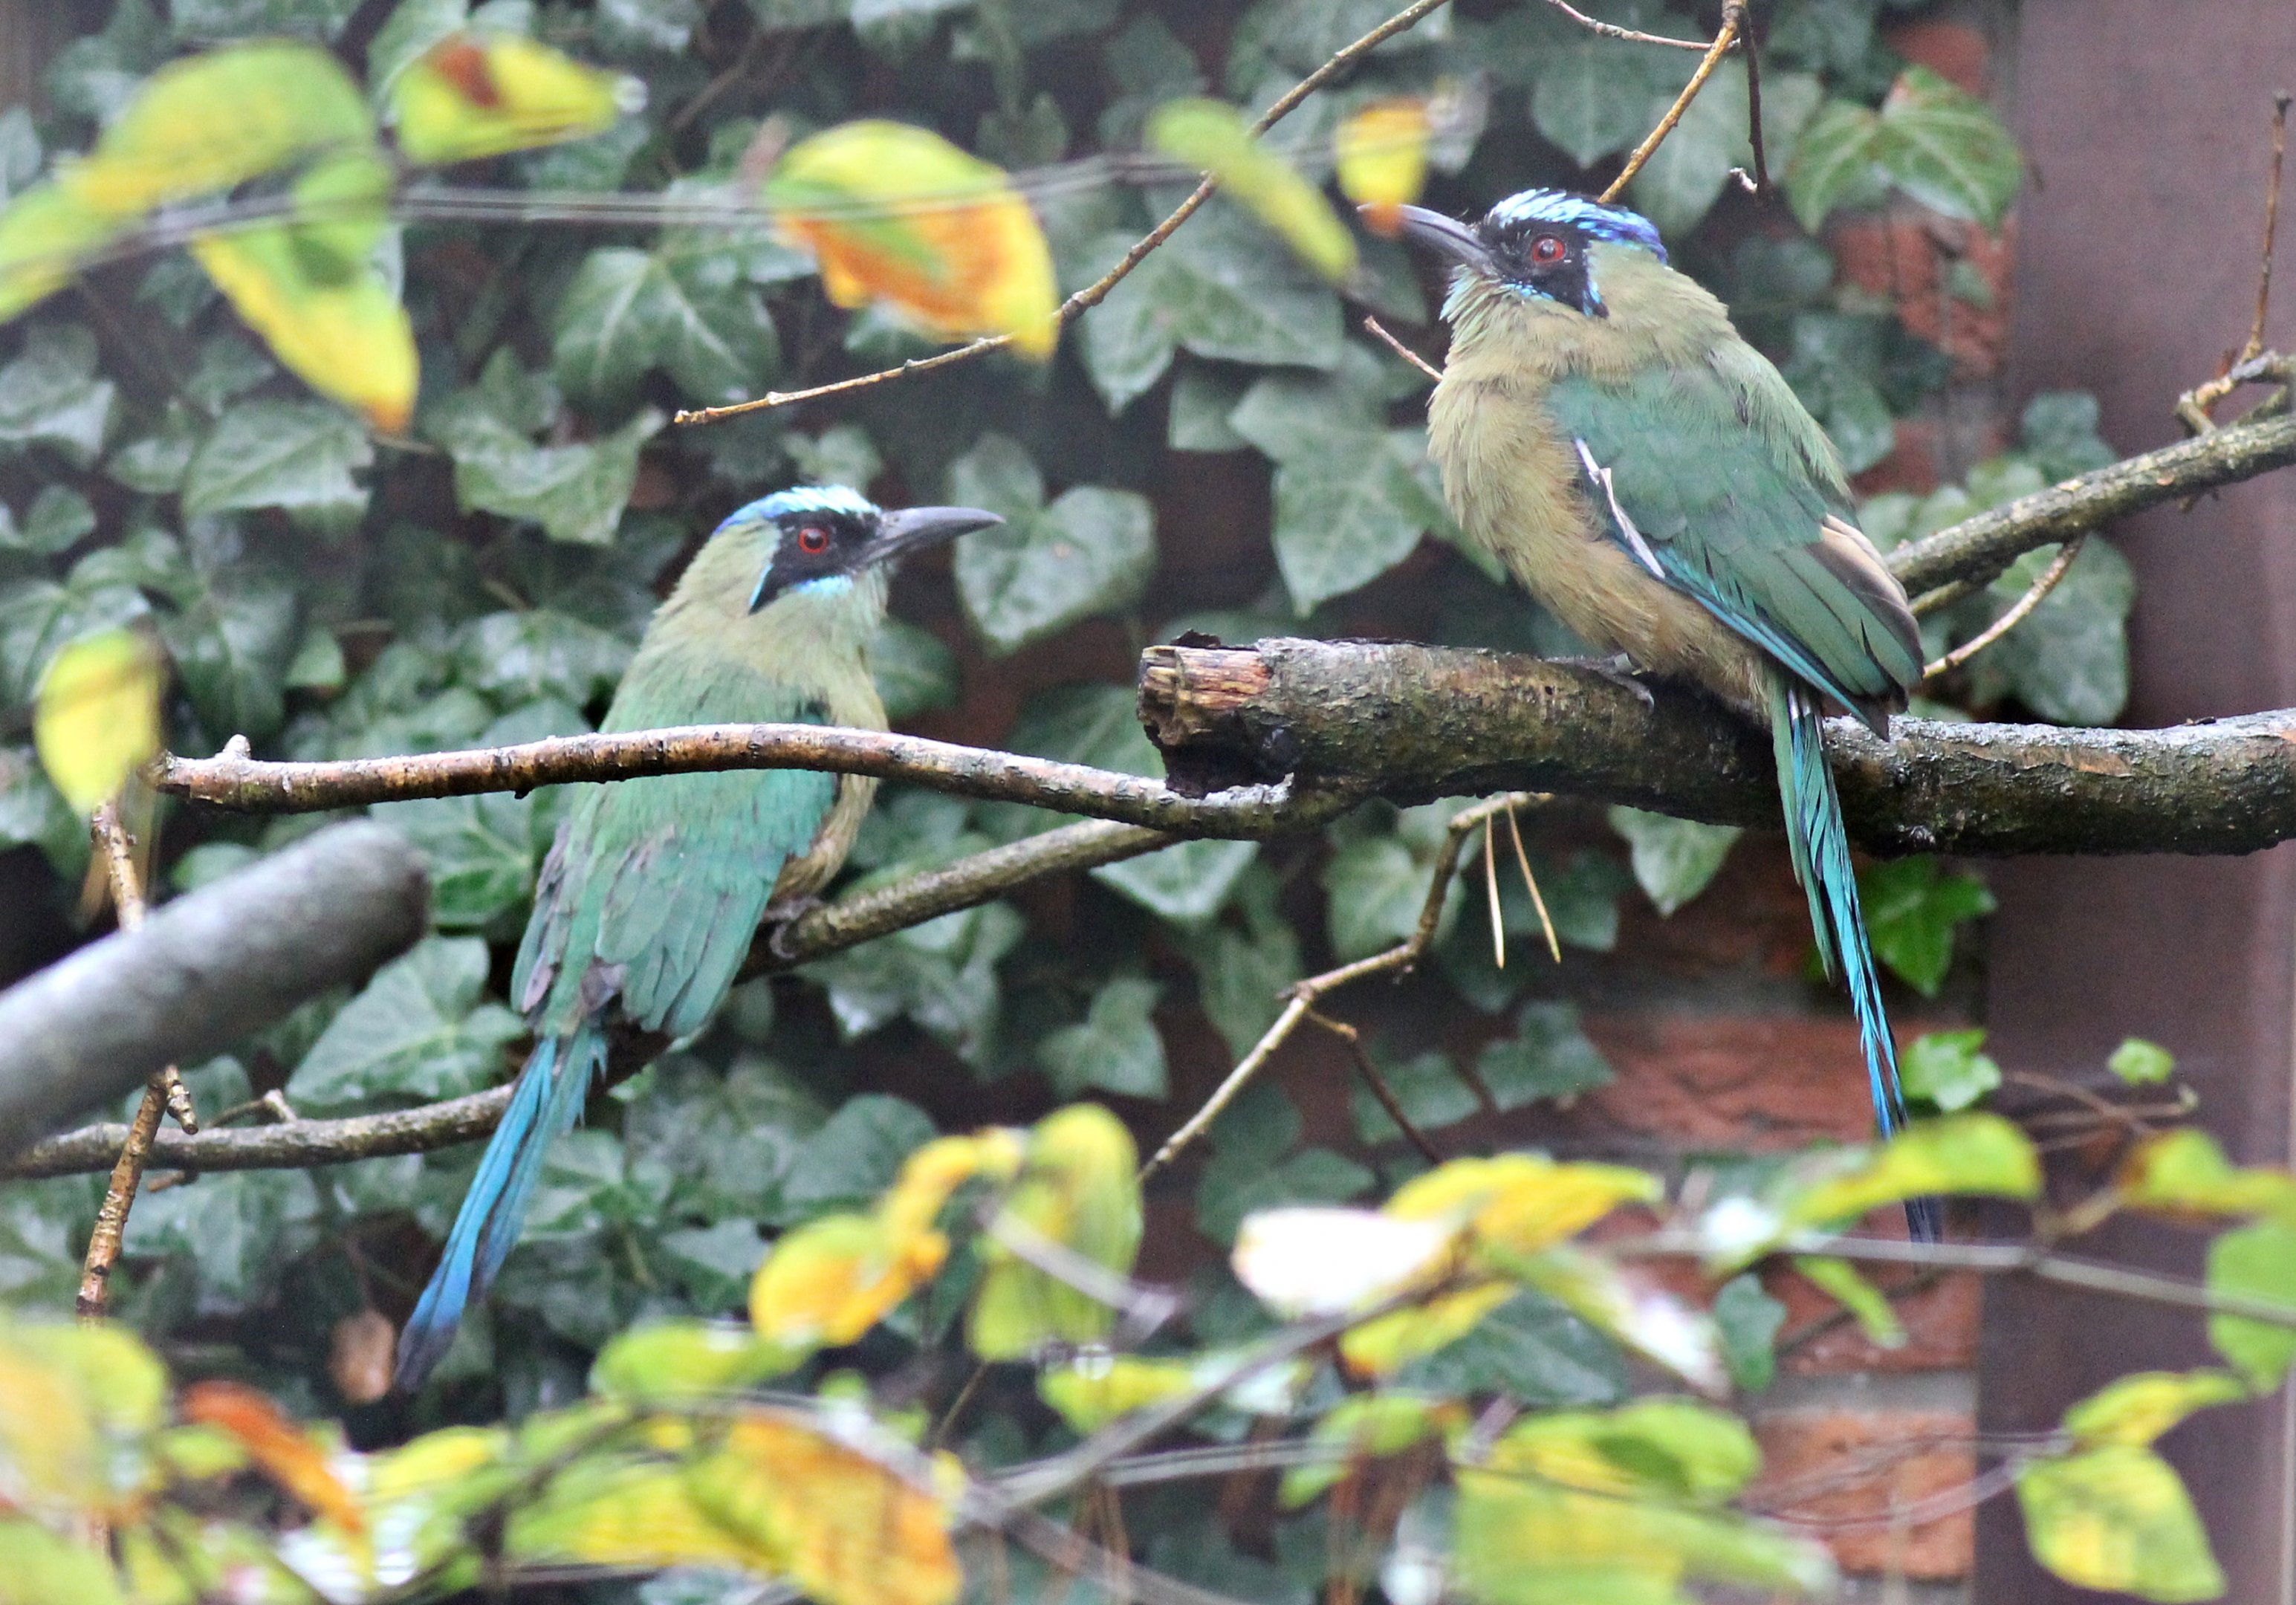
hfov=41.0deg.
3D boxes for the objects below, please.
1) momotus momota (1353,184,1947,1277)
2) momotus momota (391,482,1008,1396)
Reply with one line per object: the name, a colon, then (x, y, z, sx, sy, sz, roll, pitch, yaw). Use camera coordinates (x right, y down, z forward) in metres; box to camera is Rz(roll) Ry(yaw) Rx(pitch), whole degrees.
momotus momota: (0.777, -0.227, 4.505, 0.733, 1.177, 0.396, -3, 2, 37)
momotus momota: (-0.700, 0.212, 4.552, 0.638, 1.402, 0.418, 44, -16, -34)
